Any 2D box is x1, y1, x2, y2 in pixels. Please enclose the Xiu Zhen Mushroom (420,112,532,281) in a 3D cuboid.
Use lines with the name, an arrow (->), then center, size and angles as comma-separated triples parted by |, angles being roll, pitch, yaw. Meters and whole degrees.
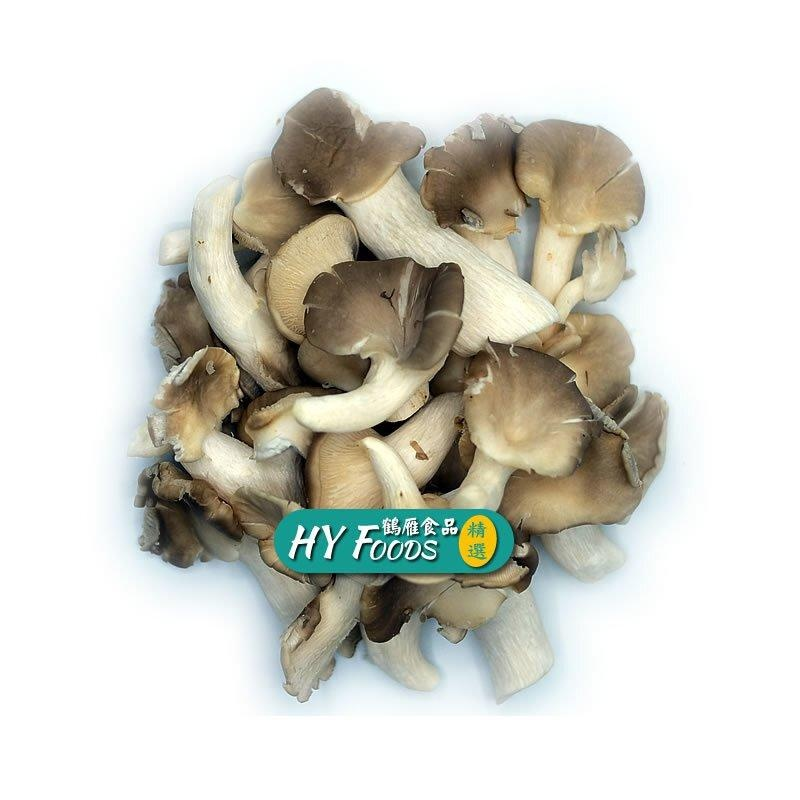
Xiu Zhen Mushroom -> 0.267, -0.766, 4.091 | 0.362, 0.580, 0.394 | 31, 72, 31

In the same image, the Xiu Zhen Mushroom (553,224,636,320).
Xiu Zhen Mushroom -> 0.768, -0.499, 4.273 | 0.238, 0.383, 0.124 | 29, 19, 4
